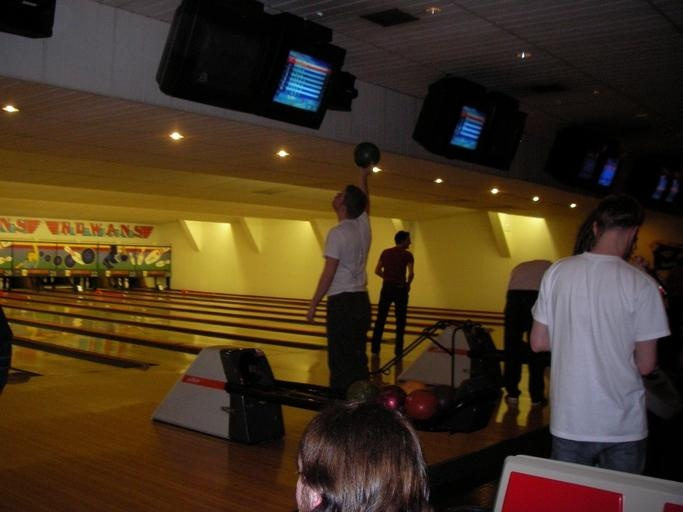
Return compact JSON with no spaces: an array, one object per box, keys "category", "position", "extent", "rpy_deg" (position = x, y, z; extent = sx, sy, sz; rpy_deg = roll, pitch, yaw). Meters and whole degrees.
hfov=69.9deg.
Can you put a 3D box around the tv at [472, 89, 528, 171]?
[{"category":"tv","position":[1.402,-1.155,4.381],"extent":[0.574,0.575,0.306],"rpy_deg":[-3,24,-44]}]

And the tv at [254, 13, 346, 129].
[{"category":"tv","position":[-0.270,-1.187,3.075],"extent":[0.187,0.516,0.625],"rpy_deg":[15,6,27]}]

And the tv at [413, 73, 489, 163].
[{"category":"tv","position":[0.951,-1.189,4.137],"extent":[0.547,0.481,0.289],"rpy_deg":[16,10,-44]}]

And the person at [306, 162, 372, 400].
[{"category":"person","position":[0.018,0.171,2.652],"extent":[0.369,0.770,0.427],"rpy_deg":[7,4,-3]}]

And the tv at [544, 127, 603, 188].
[{"category":"tv","position":[2.647,-1.088,5.480],"extent":[0.675,0.585,0.307],"rpy_deg":[5,4,-20]}]

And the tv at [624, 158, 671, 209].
[{"category":"tv","position":[4.238,-1.057,6.920],"extent":[0.651,0.562,0.148],"rpy_deg":[15,16,-12]}]

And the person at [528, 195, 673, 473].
[{"category":"person","position":[0.778,0.228,1.503],"extent":[0.363,0.797,0.201],"rpy_deg":[8,4,20]}]
